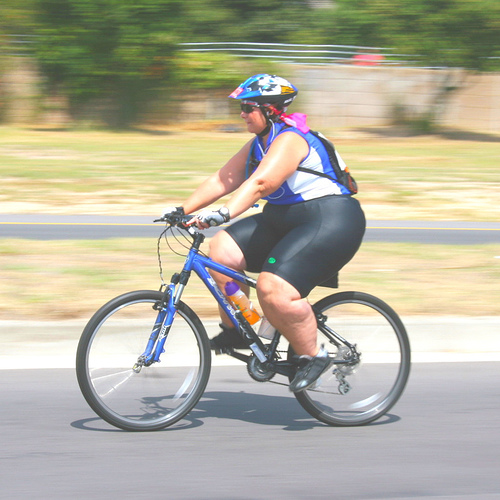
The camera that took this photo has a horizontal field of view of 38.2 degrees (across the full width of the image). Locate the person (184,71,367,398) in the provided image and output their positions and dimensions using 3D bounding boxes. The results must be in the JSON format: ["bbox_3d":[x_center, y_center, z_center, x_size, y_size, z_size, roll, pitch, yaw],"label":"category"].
[{"bbox_3d":[0.126,-0.087,4.427,1.266,1.976,0.864,15,21,7],"label":"person"}]

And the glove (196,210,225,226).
[{"bbox_3d":[-0.228,-0.184,4.126,0.160,0.040,0.088,13,-5,-5],"label":"glove"}]
